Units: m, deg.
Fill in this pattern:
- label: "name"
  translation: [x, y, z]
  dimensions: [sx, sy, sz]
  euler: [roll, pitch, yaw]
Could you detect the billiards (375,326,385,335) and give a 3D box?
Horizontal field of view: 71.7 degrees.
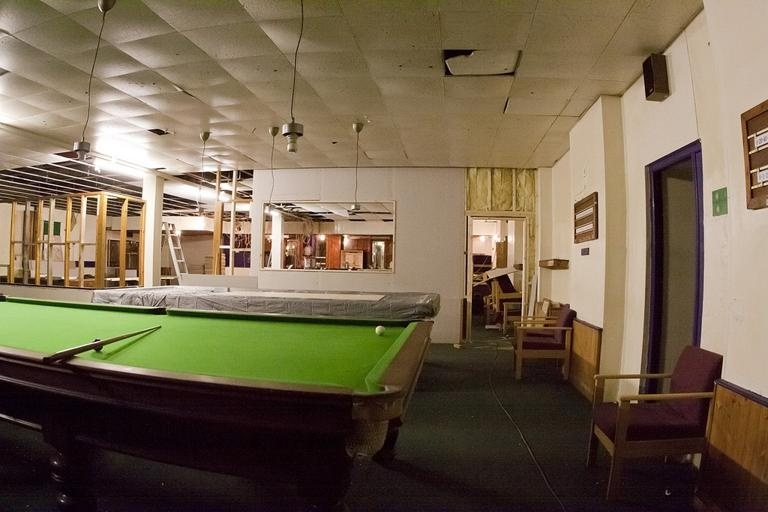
- label: "billiards"
  translation: [-0.036, 0.638, 4.516]
  dimensions: [0.074, 0.062, 0.067]
  euler: [0, 3, 1]
